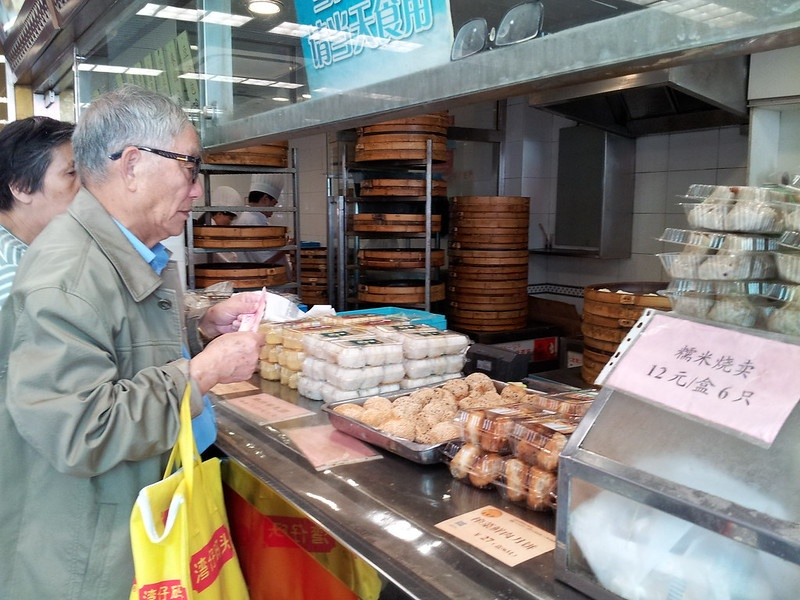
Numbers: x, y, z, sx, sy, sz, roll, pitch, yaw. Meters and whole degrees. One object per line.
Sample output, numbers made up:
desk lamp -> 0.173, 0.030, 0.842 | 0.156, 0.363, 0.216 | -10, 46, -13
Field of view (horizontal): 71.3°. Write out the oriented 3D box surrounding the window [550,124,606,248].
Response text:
window -> 1.668, -1.026, 5.055 | 0.710, 1.065, 0.169 | -3, 10, -20

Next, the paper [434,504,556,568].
paper -> 0.206, 0.487, 1.162 | 0.157, 0.017, 0.206 | -5, 8, -40

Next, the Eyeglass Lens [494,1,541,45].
Eyeglass Lens -> 0.245, -0.573, 1.162 | 0.024, 0.081, 0.121 | -5, 9, -30

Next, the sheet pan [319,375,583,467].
sheet pan -> 0.109, 0.331, 1.682 | 0.489, 0.048, 0.310 | -5, 7, -37

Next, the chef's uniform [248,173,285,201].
chef's uniform -> -1.317, -1.118, 5.498 | 0.329, 0.187, 0.318 | 7, 2, -7

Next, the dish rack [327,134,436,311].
dish rack -> -0.054, -0.704, 4.724 | 0.957, 1.202, 0.420 | 9, 24, 0

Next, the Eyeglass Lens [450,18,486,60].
Eyeglass Lens -> 0.156, -0.590, 1.262 | 0.099, 0.023, 0.085 | 2, -11, -27

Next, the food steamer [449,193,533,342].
food steamer -> 0.981, -0.300, 4.848 | 0.973, 1.007, 0.773 | -1, 6, -5
